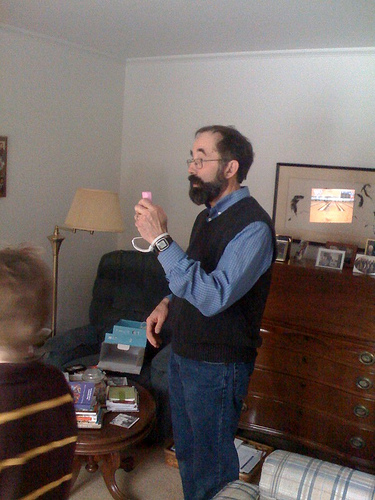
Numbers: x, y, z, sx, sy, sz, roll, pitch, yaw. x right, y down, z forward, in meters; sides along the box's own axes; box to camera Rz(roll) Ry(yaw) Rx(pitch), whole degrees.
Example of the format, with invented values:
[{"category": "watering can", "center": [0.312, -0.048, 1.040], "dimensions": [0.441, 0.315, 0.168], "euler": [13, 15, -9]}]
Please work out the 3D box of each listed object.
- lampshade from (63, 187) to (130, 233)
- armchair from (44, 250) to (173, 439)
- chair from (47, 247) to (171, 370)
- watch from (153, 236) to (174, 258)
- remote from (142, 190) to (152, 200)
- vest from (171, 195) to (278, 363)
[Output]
[{"category": "lampshade", "center": [-0.361, -0.160, 1.567], "dimensions": [0.226, 0.160, 0.064], "euler": [3, 4, -24]}, {"category": "armchair", "center": [-0.353, 0.399, 1.713], "dimensions": [0.638, 0.654, 0.822], "euler": [5, 12, 2]}, {"category": "chair", "center": [-0.411, 0.283, 2.058], "dimensions": [0.415, 0.535, 0.480], "euler": [-4, 0, -37]}, {"category": "watch", "center": [-0.053, -0.005, 0.905], "dimensions": [0.045, 0.027, 0.045], "euler": [-32, -14, 13]}, {"category": "remote", "center": [-0.093, -0.125, 0.913], "dimensions": [0.019, 0.017, 0.029], "euler": [4, 4, -16]}, {"category": "vest", "center": [0.050, 0.065, 1.075], "dimensions": [0.249, 0.457, 0.240], "euler": [5, 15, -6]}]
